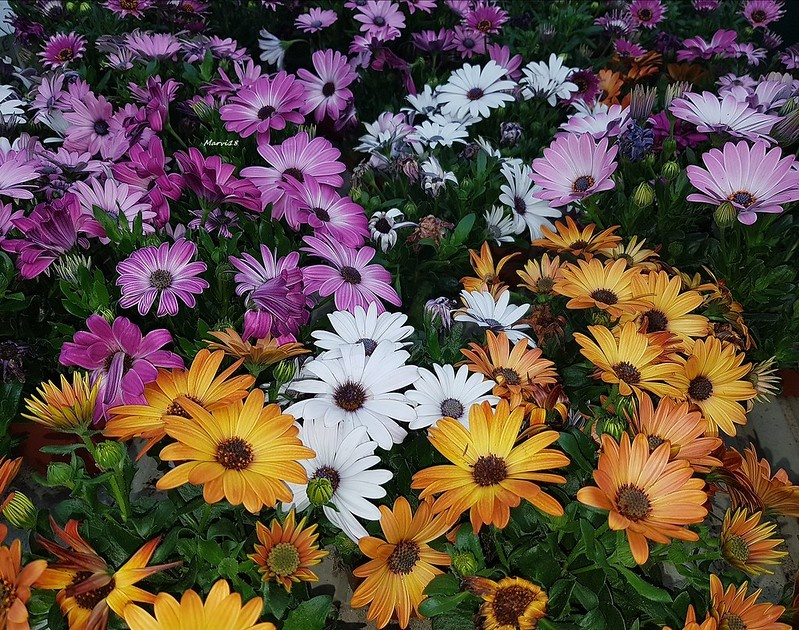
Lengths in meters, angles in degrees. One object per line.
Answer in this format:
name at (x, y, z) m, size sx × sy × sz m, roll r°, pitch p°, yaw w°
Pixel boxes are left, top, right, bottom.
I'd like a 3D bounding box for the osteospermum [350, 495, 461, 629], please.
osteospermum at (-0.003, 0.358, 1.066) m, size 0.188 × 0.182 × 0.040 m, roll -50°, pitch 26°, yaw -19°
